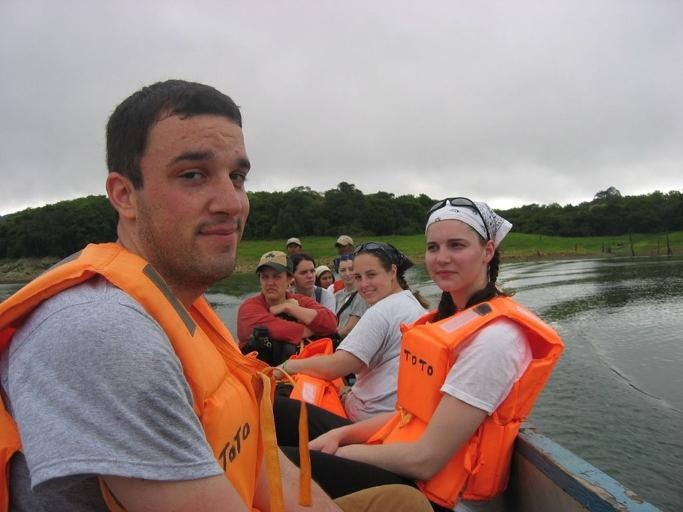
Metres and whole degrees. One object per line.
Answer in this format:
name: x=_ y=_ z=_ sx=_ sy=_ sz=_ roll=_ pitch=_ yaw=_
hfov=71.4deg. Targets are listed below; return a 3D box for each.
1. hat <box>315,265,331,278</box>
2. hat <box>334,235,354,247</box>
hat: x=-0.457 y=0.374 z=10.983 sx=0.225 sy=0.235 sz=0.285 roll=-26 pitch=-5 yaw=-22
hat: x=0.106 y=-0.370 z=11.315 sx=0.262 sy=0.213 sz=0.385 roll=-4 pitch=-11 yaw=29
